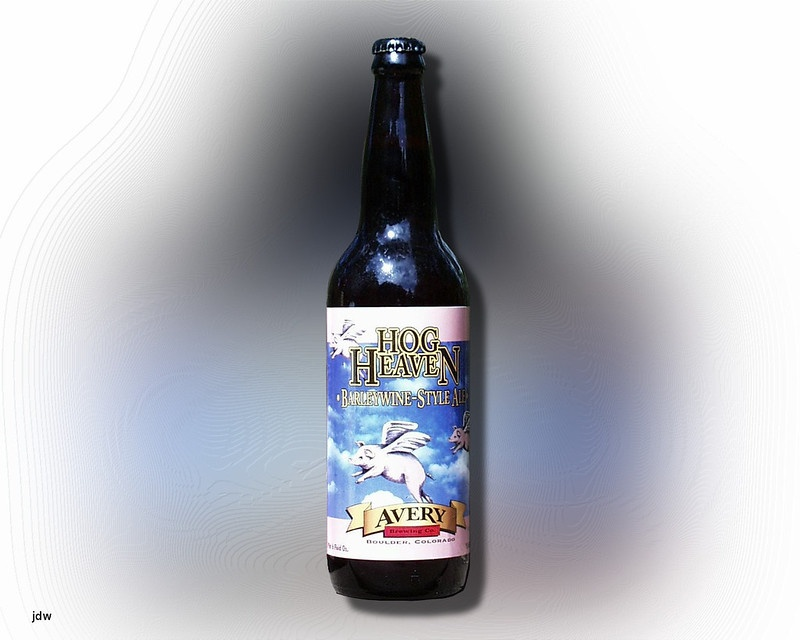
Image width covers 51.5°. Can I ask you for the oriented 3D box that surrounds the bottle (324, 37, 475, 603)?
[{"bbox_3d":[-0.003,0.001,1.074,0.179,0.700,0.211,0,-14,3],"label":"bottle"}]
